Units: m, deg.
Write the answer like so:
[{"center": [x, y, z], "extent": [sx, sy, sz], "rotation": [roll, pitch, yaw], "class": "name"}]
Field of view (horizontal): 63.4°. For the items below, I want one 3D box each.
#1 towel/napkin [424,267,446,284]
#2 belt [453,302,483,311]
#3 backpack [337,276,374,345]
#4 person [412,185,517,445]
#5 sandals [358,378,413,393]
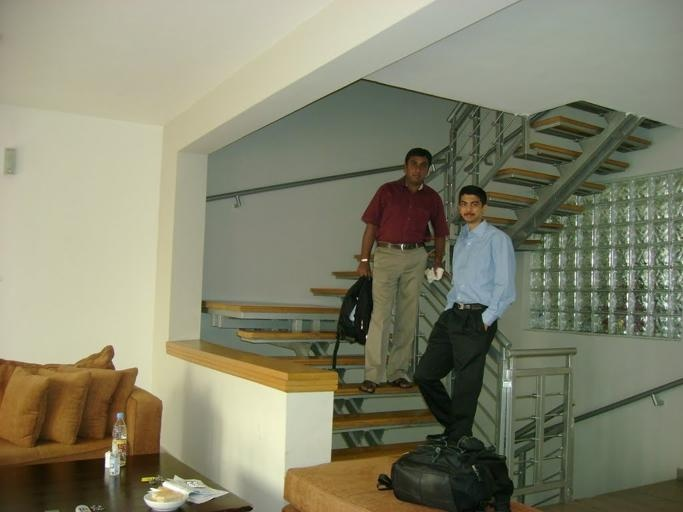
[{"center": [0.740, 0.160, 4.391], "extent": [0.138, 0.057, 0.136], "rotation": [1, 11, 21], "class": "towel/napkin"}, {"center": [0.847, 0.335, 3.707], "extent": [0.206, 0.050, 0.041], "rotation": [-3, -8, 29], "class": "belt"}, {"center": [0.102, 0.418, 4.378], "extent": [0.292, 0.532, 0.192], "rotation": [0, -7, 10], "class": "backpack"}, {"center": [0.843, 0.384, 3.784], "extent": [0.675, 1.718, 0.279], "rotation": [-4, -9, 37], "class": "person"}, {"center": [0.341, 1.001, 4.282], "extent": [0.460, 0.093, 0.152], "rotation": [5, -7, -32], "class": "sandals"}]
